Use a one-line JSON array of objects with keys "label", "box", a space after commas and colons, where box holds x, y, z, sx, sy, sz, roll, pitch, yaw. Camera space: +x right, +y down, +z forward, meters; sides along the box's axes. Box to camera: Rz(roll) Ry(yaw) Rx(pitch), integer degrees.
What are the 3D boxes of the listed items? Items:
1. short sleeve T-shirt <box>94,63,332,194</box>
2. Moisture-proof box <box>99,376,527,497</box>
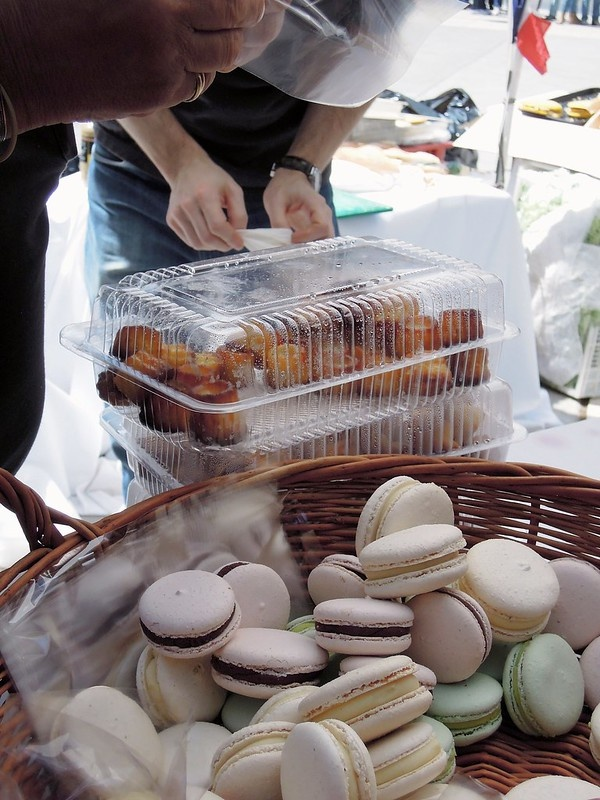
[{"label": "short sleeve T-shirt", "box": [-0.154, -0.542, 1.381, 0.236, 0.097, 0.322, 34, 39, 27]}, {"label": "Moisture-proof box", "box": [0.035, -0.014, 0.833, 0.387, 0.089, 0.227, -9, 22, -13]}]
